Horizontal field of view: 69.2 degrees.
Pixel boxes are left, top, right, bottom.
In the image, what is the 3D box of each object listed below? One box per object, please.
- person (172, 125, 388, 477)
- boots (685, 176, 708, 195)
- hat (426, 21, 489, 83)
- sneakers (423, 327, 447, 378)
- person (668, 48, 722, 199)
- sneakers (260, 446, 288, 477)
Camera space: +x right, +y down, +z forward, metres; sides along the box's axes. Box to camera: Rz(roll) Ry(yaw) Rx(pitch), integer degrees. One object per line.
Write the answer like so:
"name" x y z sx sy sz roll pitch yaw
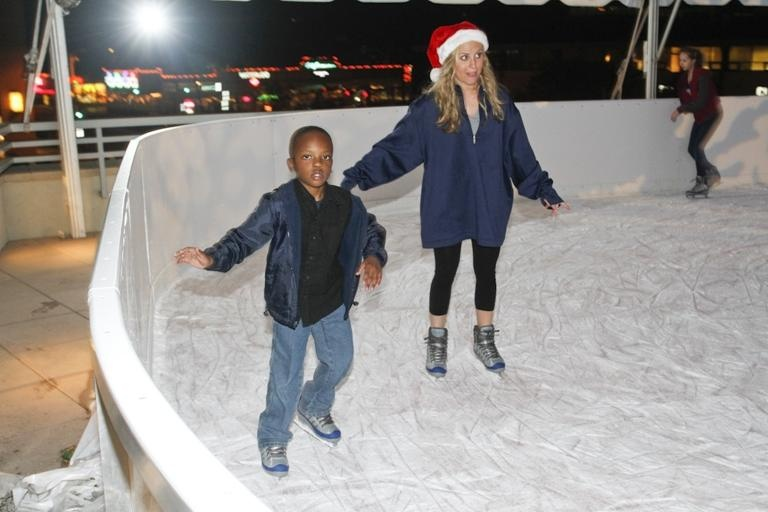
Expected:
"person" -0.401 0.321 2.786 0.940 1.429 0.378 -5 16 -20
"boots" 4.546 -1.016 8.108 0.336 0.283 0.121 -2 15 -6
"hat" 0.467 -1.310 3.602 0.372 0.376 0.337 1 14 3
"sneakers" 0.328 0.630 3.730 0.120 0.153 0.339 0 38 -3
"person" 4.665 -1.988 8.261 0.707 2.104 0.940 1 15 4
"sneakers" -0.531 0.999 2.741 0.091 0.084 0.176 2 28 -15
